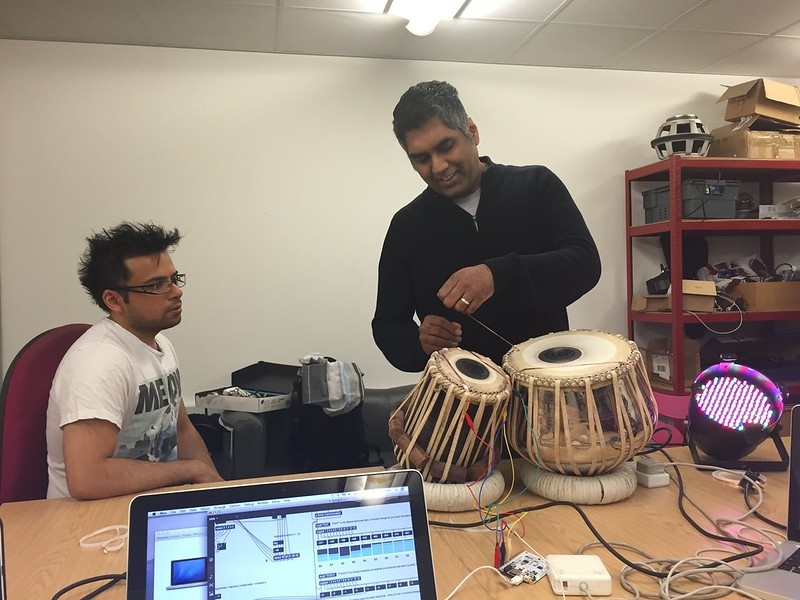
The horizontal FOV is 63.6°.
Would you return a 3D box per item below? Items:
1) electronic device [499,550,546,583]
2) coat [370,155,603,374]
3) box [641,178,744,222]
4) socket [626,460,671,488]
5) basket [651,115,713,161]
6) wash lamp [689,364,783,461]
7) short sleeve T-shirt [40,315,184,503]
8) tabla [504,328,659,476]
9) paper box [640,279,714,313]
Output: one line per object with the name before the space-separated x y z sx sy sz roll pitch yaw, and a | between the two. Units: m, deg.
electronic device | 0.294 0.634 1.521 0.109 0.036 0.067 -9 4 -29
coat | 0.327 -0.159 2.835 0.726 0.866 0.490 -19 15 11
box | 1.566 -0.519 3.436 0.300 0.151 0.303 -4 8 -20
socket | 0.705 0.484 1.815 0.062 0.058 0.116 -1 7 -6
basket | 1.482 -0.851 3.375 0.252 0.188 0.260 -2 6 7
wash lamp | 0.965 0.332 1.862 0.159 0.181 0.180 25 29 -13
short sleeve T-shirt | -0.961 0.365 2.126 0.264 0.513 0.577 -1 -2 6
tabla | 0.524 0.330 1.808 0.370 0.331 0.379 -14 16 25
paper box | 1.475 -0.009 3.411 0.225 0.145 0.228 1 -2 -19
